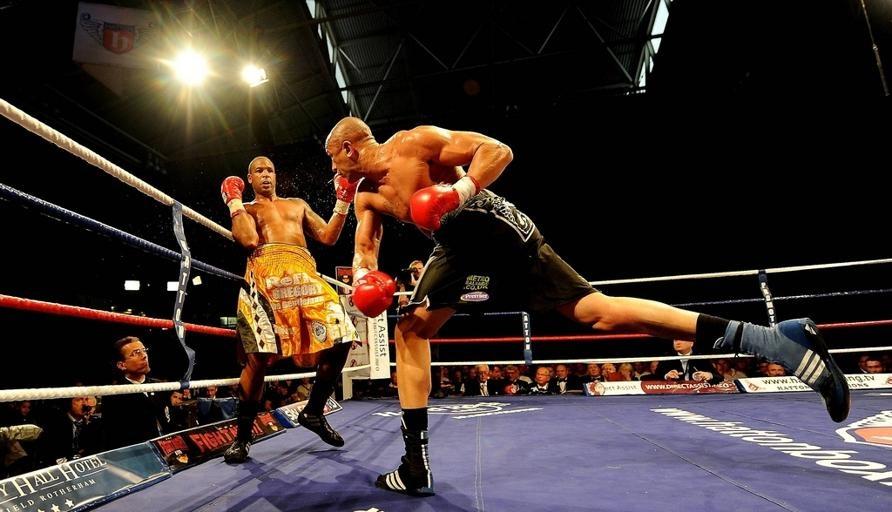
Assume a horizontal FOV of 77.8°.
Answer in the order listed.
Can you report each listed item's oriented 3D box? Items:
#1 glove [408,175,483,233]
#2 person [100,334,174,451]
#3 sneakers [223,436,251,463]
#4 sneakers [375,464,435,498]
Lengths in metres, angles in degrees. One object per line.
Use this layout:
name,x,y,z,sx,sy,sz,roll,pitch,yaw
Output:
glove,-0.007,-0.491,5.433,0.646,0.557,0.274,-2,15,2
person,-3.979,1.778,7.001,0.719,1.374,1.906,-11,17,-28
sneakers,-2.272,2.120,6.045,0.246,0.190,0.199,-2,15,0
sneakers,-0.374,2.227,5.501,0.614,0.240,0.229,1,-19,15
